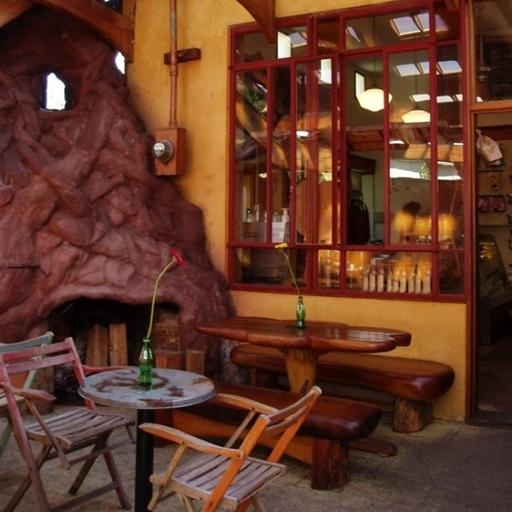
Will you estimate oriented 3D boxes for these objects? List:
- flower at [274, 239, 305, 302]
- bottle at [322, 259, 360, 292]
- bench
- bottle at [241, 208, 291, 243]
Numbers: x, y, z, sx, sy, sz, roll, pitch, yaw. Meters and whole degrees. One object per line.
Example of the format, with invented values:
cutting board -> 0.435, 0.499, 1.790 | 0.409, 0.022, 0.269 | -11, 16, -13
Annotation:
flower -> 0.387, 0.158, 5.337 | 0.212, 0.676, 0.227 | -21, -17, 19
bottle -> 0.863, 0.184, 5.265 | 0.458, 0.275, 0.019 | 0, -1, 26
bench -> 0.693, 1.078, 3.923 | 1.159, 0.303, 1.207 | 2, 3, 35
bottle -> 0.099, -0.336, 5.630 | 0.574, 0.373, 0.064 | 0, -1, 33
